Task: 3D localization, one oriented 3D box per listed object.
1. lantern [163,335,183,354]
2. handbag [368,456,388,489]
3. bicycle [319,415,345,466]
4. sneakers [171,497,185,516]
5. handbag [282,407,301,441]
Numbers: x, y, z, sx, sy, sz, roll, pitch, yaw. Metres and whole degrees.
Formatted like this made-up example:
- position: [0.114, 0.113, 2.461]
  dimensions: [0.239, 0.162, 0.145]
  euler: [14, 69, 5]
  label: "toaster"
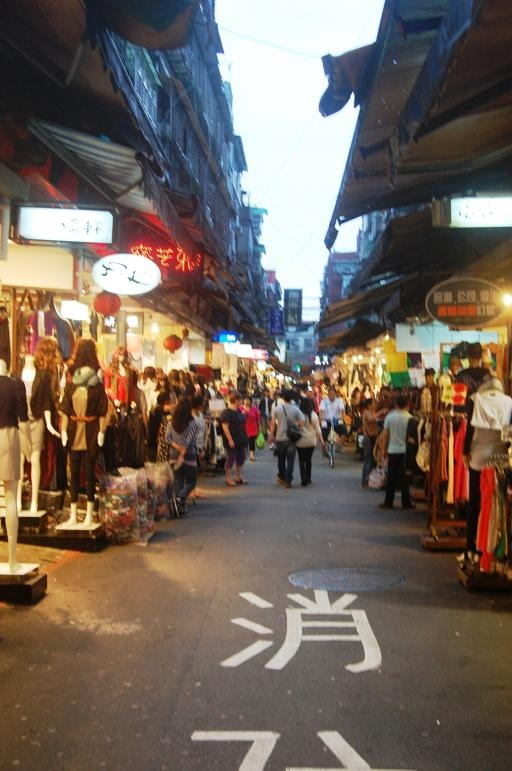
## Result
- position: [-2.045, -1.090, 14.230]
  dimensions: [0.445, 0.452, 0.613]
  euler: [-2, -5, 28]
  label: "lantern"
- position: [2.386, 1.753, 11.205]
  dimensions: [0.166, 0.691, 0.281]
  euler: [12, -4, -32]
  label: "handbag"
- position: [2.400, 1.617, 17.844]
  dimensions: [0.548, 1.230, 1.482]
  euler: [0, -1, -4]
  label: "bicycle"
- position: [-1.133, 1.762, 8.453]
  dimensions: [0.175, 0.294, 0.476]
  euler: [0, -4, -2]
  label: "sneakers"
- position: [0.719, 0.781, 11.850]
  dimensions: [0.342, 0.843, 0.271]
  euler: [0, -24, -30]
  label: "handbag"
